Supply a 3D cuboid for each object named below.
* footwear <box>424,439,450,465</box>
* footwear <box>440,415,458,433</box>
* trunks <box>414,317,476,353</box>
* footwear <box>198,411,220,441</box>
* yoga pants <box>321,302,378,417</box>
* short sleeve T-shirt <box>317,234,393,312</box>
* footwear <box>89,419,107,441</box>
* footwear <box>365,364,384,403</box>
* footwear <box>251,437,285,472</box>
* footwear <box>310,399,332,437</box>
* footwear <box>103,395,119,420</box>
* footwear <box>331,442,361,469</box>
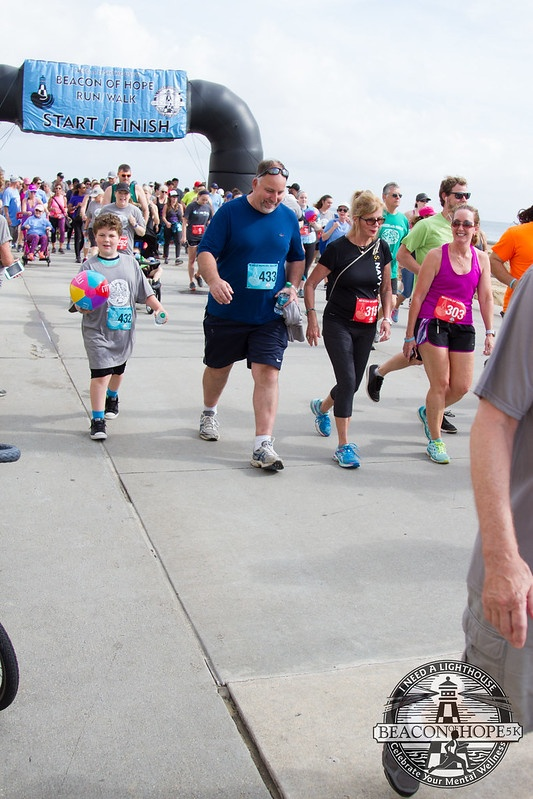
[{"bbox_3d":[1.194,0.370,4.650,0.089,0.102,0.238,-4,14,-9],"label":"footwear"},{"bbox_3d":[1.483,0.208,5.475,0.076,0.079,0.210,-4,16,-9],"label":"footwear"},{"bbox_3d":[1.192,-0.439,4.570,0.417,0.276,0.225,11,9,-15],"label":"trunks"},{"bbox_3d":[-0.418,0.189,4.851,0.140,0.202,0.156,3,11,-6],"label":"footwear"},{"bbox_3d":[0.523,-0.259,4.574,0.342,0.730,0.369,8,12,19],"label":"yoga pants"},{"bbox_3d":[0.621,-0.865,4.592,0.582,0.543,0.301,-7,28,-22],"label":"short sleeve T-shirt"},{"bbox_3d":[-1.185,0.200,4.693,0.113,0.142,0.221,1,11,-13],"label":"footwear"},{"bbox_3d":[0.925,-0.154,5.687,0.165,0.336,0.118,-2,15,29],"label":"footwear"},{"bbox_3d":[0.023,0.359,4.252,0.180,0.193,0.228,-2,12,-27],"label":"footwear"},{"bbox_3d":[0.433,0.149,5.195,0.116,0.309,0.139,-18,2,-41],"label":"footwear"},{"bbox_3d":[-1.207,0.060,5.132,0.145,0.151,0.395,0,10,-12],"label":"footwear"},{"bbox_3d":[0.518,0.368,4.427,0.211,0.147,0.170,9,12,24],"label":"footwear"}]
